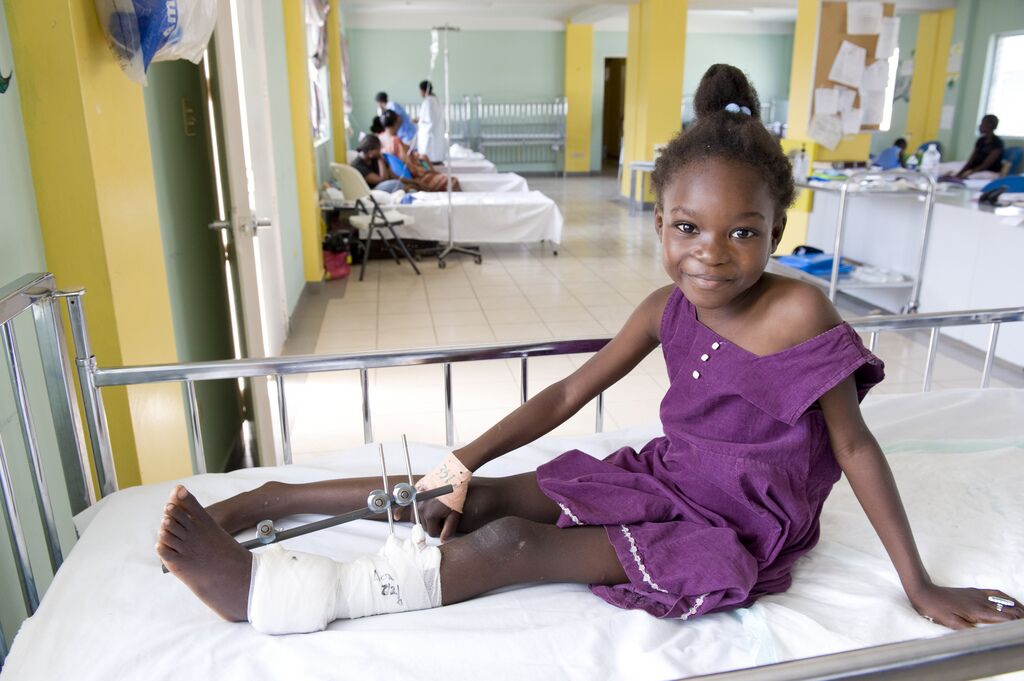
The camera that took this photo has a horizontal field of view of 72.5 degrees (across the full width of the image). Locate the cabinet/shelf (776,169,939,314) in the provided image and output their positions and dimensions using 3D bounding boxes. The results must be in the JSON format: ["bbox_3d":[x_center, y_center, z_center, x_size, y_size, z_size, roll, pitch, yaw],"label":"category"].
[{"bbox_3d":[2.567,-0.712,5.059,0.488,1.147,1.247,-2,19,2],"label":"cabinet/shelf"}]

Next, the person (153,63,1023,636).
[{"bbox_3d":[0.294,0.057,1.784,1.800,1.231,0.629,-1,16,3],"label":"person"}]

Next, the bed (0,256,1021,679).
[{"bbox_3d":[-0.488,0.164,2.224,1.801,0.805,1.751,-5,8,-9],"label":"bed"}]
